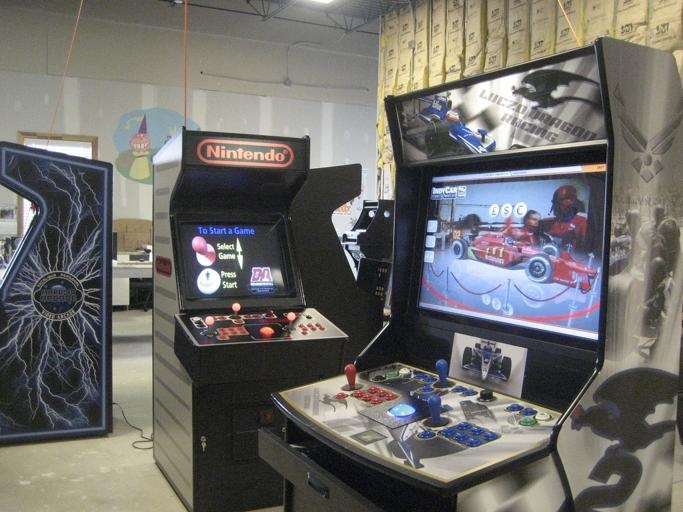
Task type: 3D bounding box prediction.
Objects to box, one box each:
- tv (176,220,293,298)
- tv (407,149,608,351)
[{"bbox_3d":[-0.643,0.036,3.068,0.482,0.331,0.064,1,-19,-21],"label":"tv"},{"bbox_3d":[0.610,-0.046,1.991,0.009,0.570,0.810,2,2,-34],"label":"tv"}]
